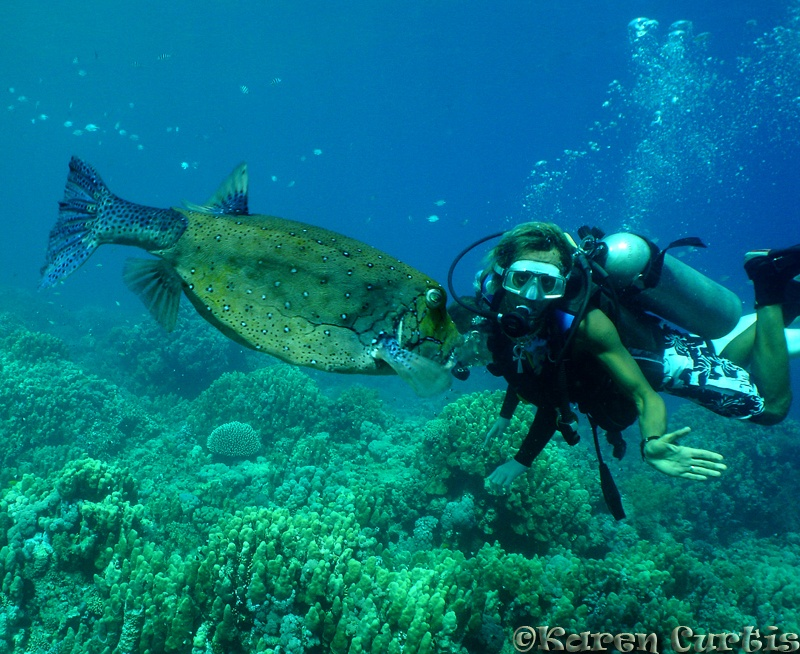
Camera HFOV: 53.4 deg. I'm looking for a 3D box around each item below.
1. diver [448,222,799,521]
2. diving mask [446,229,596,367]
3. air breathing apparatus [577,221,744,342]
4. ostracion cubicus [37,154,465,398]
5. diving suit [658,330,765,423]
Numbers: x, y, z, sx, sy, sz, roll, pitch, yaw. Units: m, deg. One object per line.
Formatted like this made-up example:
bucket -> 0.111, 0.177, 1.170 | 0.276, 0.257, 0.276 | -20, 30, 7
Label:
diver -> 3.591, 0.507, 12.590 | 5.346, 3.604, 4.036 | -2, -5, -14
diving mask -> 1.903, -0.356, 11.593 | 1.150, 1.751, 1.427 | 7, 15, 11
air breathing apparatus -> 4.234, -0.604, 12.834 | 3.375, 1.151, 1.140 | 30, -17, -17
ostracion cubicus -> -1.963, -0.593, 10.952 | 5.913, 2.557, 2.982 | 15, -6, -8
diving suit -> 4.769, 0.774, 12.129 | 1.717, 0.979, 0.612 | 37, -4, 9
